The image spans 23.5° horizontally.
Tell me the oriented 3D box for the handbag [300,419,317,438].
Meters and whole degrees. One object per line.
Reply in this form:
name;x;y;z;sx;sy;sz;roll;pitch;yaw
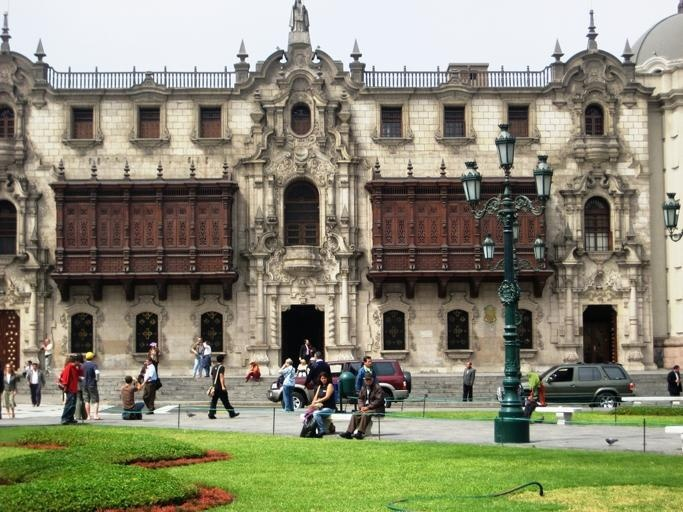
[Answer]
handbag;-1.314;7.149;67.353;0.729;0.627;1.172;-6;3;11

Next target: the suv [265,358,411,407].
suv;0.143;5.855;79.102;5.953;2.070;2.666;2;-11;-4

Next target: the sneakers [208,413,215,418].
sneakers;-5.670;7.130;72.620;0.281;0.196;0.443;1;-10;-7

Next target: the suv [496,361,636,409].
suv;11.210;6.137;79.580;5.602;1.919;2.531;1;-7;2

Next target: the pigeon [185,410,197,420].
pigeon;-6.629;7.019;72.113;0.184;0.262;0.610;-4;-17;9

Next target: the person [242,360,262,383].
person;-4.798;6.134;85.131;1.167;1.527;0.636;1;-12;13

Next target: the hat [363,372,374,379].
hat;1.120;5.072;68.760;0.549;0.264;0.689;0;1;3
